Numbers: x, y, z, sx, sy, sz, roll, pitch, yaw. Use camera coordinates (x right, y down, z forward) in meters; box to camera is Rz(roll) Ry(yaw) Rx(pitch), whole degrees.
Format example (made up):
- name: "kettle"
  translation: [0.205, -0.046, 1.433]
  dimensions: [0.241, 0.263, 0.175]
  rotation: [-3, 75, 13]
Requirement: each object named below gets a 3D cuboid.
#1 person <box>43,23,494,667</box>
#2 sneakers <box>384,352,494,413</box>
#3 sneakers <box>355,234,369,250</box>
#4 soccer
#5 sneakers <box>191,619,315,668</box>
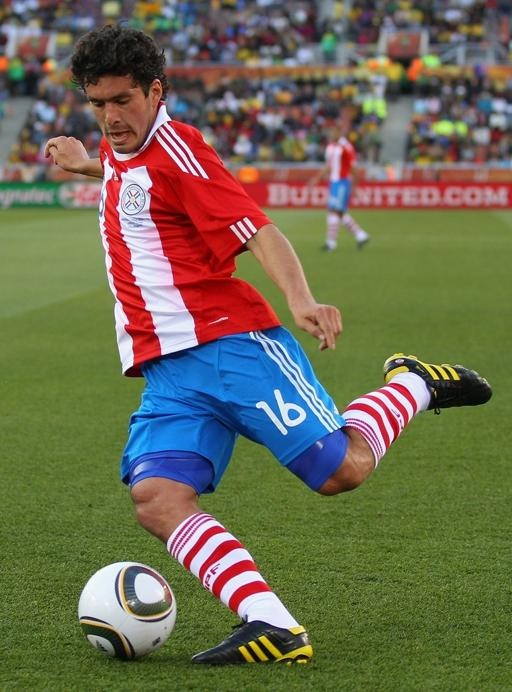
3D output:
- name: "person"
  translation: [0.062, -0.073, 1.981]
  dimensions: [0.967, 1.518, 0.834]
  rotation: [-3, 11, -16]
- name: "sneakers"
  translation: [0.635, 0.149, 2.641]
  dimensions: [0.462, 0.159, 0.194]
  rotation: [11, 64, -12]
- name: "sneakers"
  translation: [1.700, -1.664, 12.027]
  dimensions: [0.159, 0.240, 0.187]
  rotation: [-25, 57, -25]
- name: "soccer"
  translation: [-0.302, 0.623, 1.762]
  dimensions: [0.212, 0.201, 0.118]
  rotation: [-2, 10, -11]
- name: "sneakers"
  translation: [0.008, 0.671, 1.700]
  dimensions: [0.313, 0.098, 0.100]
  rotation: [0, 64, 3]
